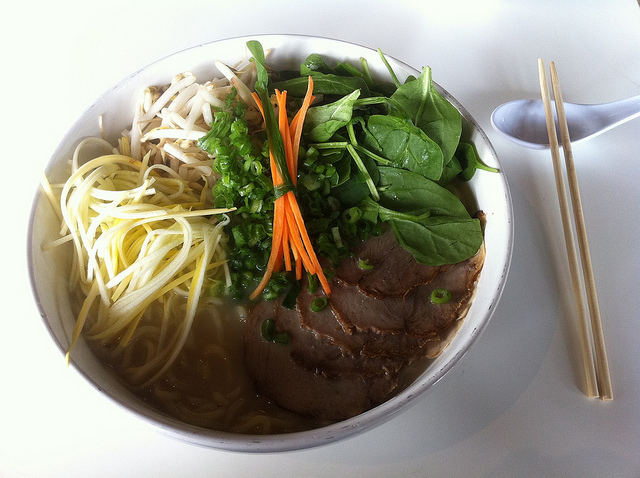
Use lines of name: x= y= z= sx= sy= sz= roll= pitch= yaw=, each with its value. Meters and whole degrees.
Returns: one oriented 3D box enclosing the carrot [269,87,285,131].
carrot: x=-0.234 y=-0.692 z=3.036 sx=0.064 sy=0.191 sz=0.137 roll=-2 pitch=-18 yaw=-8
